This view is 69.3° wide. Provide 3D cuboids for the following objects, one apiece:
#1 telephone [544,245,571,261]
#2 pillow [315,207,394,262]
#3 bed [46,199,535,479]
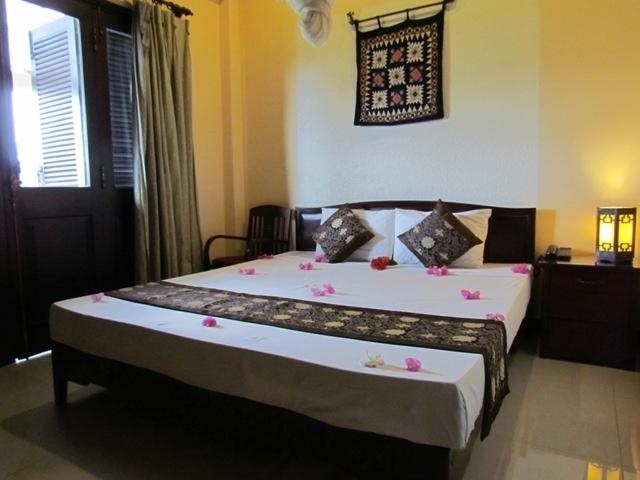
[{"bbox_3d":[1.868,0.106,3.622,0.155,0.065,0.174,5,20,31],"label":"telephone"},{"bbox_3d":[0.513,-0.055,4.206,0.590,0.521,0.166,-1,-27,22],"label":"pillow"},{"bbox_3d":[0.284,0.530,2.828,1.444,0.764,1.658,4,9,29],"label":"bed"}]
